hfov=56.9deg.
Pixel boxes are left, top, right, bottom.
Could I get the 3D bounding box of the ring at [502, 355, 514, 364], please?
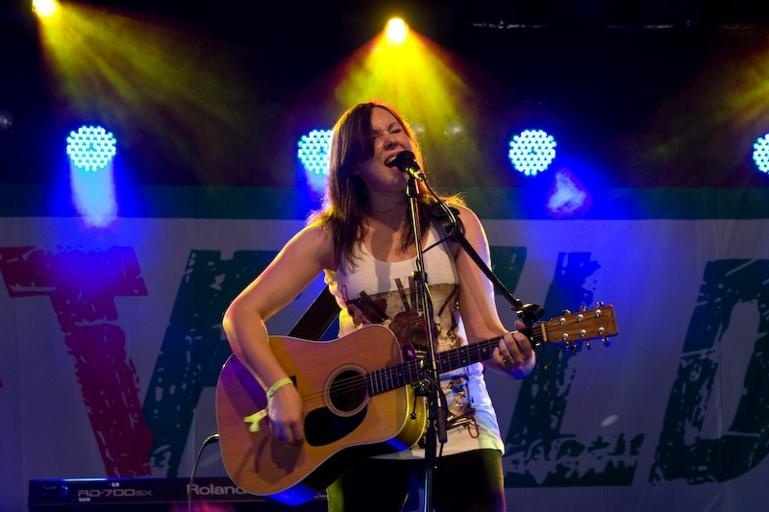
[{"bbox_3d":[0.728,0.613,4.228,0.030,0.034,0.046,0,-13,-13],"label":"ring"}]
